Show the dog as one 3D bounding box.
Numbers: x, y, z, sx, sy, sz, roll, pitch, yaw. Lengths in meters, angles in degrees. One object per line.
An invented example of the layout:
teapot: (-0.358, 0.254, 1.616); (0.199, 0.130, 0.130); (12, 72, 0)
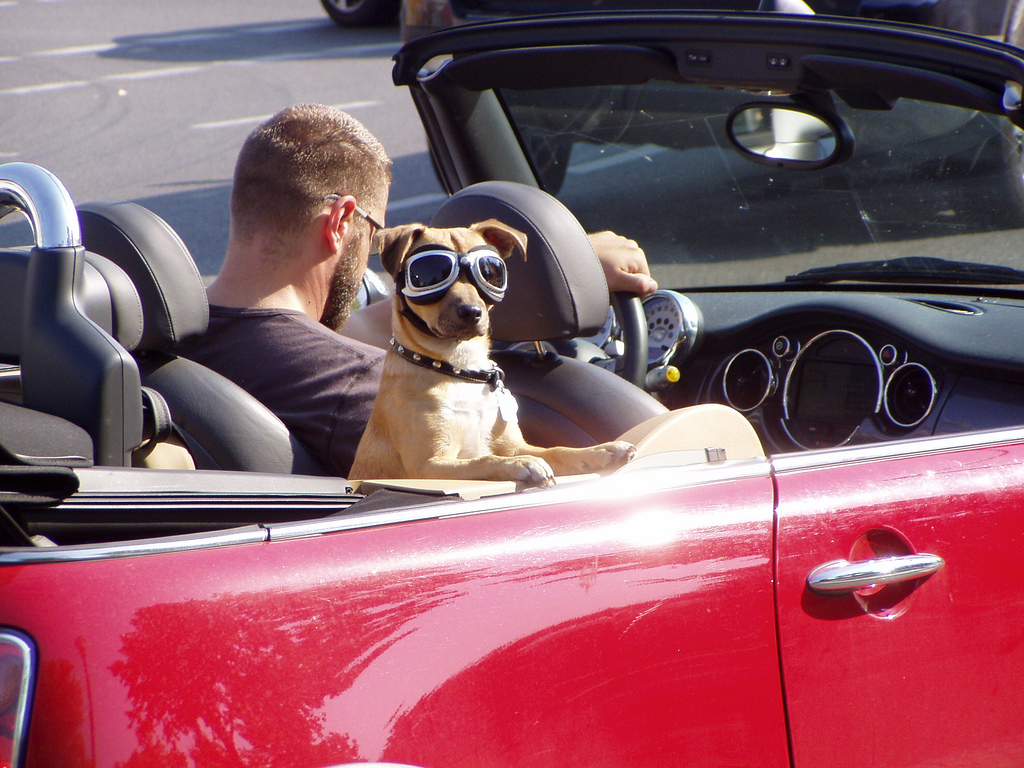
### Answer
dog: (-0.175, -0.056, 3.244); (0.380, 0.712, 0.975); (-4, 1, -33)

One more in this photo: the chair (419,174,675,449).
chair: (0.193, -0.197, 3.538); (0.460, 0.813, 0.701); (-5, 2, 29)

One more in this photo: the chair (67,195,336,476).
chair: (-0.801, -0.104, 3.280); (0.591, 0.748, 0.456); (5, 3, -30)

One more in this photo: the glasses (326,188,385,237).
glasses: (-0.434, -0.461, 3.518); (0.134, 0.158, 0.040); (20, 46, 39)
